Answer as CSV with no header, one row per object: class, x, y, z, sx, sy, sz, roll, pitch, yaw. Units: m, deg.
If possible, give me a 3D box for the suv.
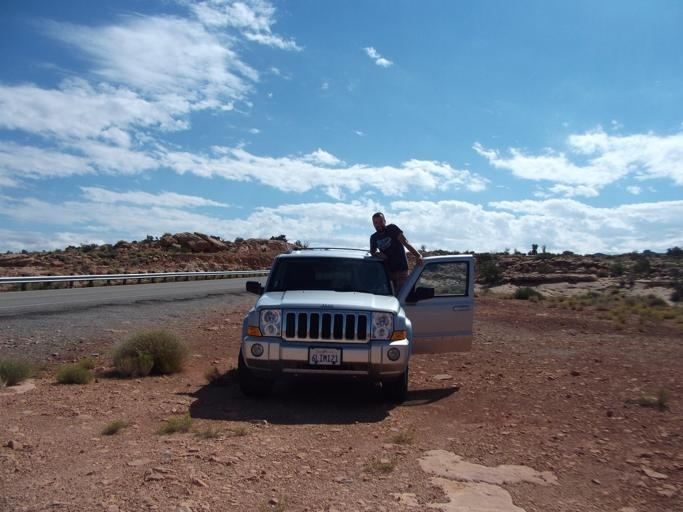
suv,0.119,1.005,7.396,2.859,1.452,3.184,0,-8,2
